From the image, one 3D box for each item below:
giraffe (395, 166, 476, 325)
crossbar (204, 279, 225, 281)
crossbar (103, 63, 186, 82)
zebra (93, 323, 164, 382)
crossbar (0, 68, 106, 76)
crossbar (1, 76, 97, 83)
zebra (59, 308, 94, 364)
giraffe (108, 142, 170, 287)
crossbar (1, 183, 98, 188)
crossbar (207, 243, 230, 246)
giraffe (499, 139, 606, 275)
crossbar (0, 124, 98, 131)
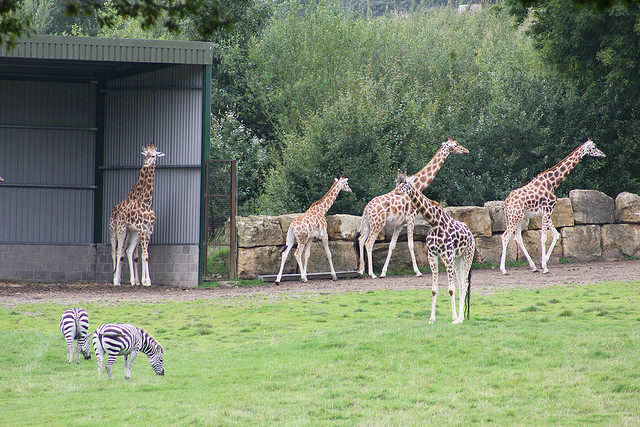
[{"bbox_3d":[3.464,1.024,30.411,1.665,3.964,2.656,-2,-2,14],"label":"giraffe"},{"bbox_3d":[-3.517,2.174,35.838,0.495,0.054,0.140,-2,-3,14],"label":"crossbar"},{"bbox_3d":[-6.075,-4.703,36.406,2.703,0.345,0.180,-3,-3,22],"label":"crossbar"},{"bbox_3d":[-4.762,3.557,27.672,1.011,1.491,2.316,-2,-8,42],"label":"zebra"},{"bbox_3d":[-8.945,-4.715,36.481,3.271,0.187,0.649,-1,-3,-7],"label":"crossbar"},{"bbox_3d":[-9.150,-4.503,36.852,3.032,0.245,0.145,-1,-2,-8],"label":"crossbar"},{"bbox_3d":[-6.305,3.171,28.329,0.747,1.415,0.496,-1,-2,-14],"label":"zebra"},{"bbox_3d":[-5.858,0.018,35.534,1.319,4.709,2.370,1,-3,-39],"label":"giraffe"},{"bbox_3d":[-9.206,-0.933,36.697,2.156,0.105,0.088,2,-16,-10],"label":"crossbar"},{"bbox_3d":[-3.245,1.025,35.631,0.716,0.064,0.410,-3,-3,30],"label":"crossbar"},{"bbox_3d":[7.268,-0.213,36.231,3.137,4.382,1.685,0,-3,-29],"label":"giraffe"},{"bbox_3d":[-9.218,-2.882,36.776,2.966,0.140,0.133,1,-8,-7],"label":"crossbar"}]
